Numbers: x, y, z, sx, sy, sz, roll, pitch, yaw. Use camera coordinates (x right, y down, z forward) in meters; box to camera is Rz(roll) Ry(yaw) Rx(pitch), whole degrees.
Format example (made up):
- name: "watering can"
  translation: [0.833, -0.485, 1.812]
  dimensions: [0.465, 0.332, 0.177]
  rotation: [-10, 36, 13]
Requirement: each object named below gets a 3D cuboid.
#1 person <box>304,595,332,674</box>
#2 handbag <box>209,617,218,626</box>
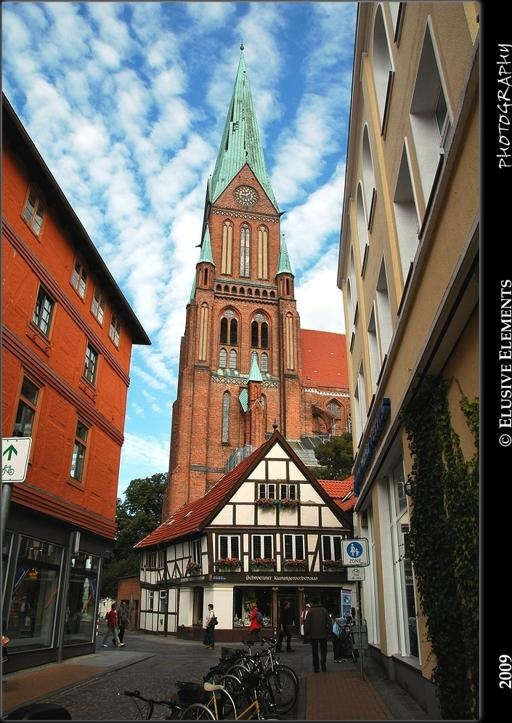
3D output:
- name: "person"
  translation: [1.452, 6.183, 10.245]
  dimensions: [0.525, 1.527, 0.472]
  rotation: [-4, -17, 6]
- name: "handbag"
  translation: [-1.657, 10.155, 17.525]
  dimensions: [0.270, 0.382, 0.828]
  rotation: [-1, -28, 3]
